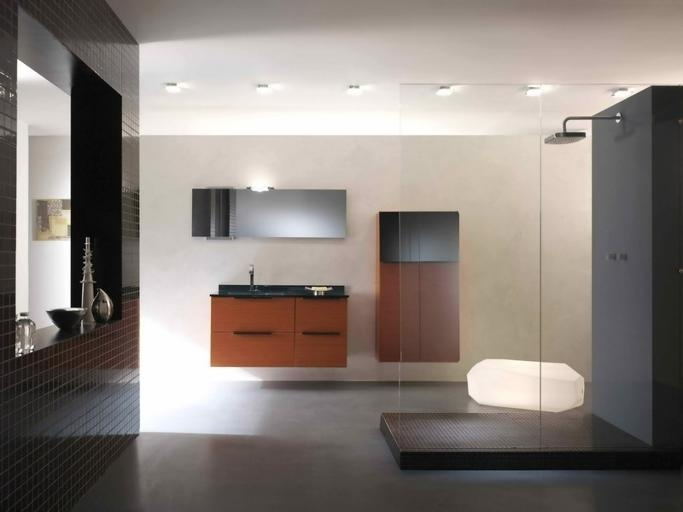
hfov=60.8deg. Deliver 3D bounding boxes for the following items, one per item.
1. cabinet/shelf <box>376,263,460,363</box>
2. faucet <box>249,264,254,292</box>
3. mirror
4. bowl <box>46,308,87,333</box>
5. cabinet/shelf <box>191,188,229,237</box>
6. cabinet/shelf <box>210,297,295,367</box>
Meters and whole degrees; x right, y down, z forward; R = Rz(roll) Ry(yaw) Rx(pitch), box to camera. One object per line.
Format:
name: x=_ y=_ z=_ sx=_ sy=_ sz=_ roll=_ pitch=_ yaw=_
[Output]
cabinet/shelf: x=0.600 y=0.353 z=4.575 sx=0.620 sy=0.901 sz=0.438 roll=-1 pitch=7 yaw=1
faucet: x=-0.985 y=0.244 z=6.423 sx=0.063 sy=0.273 sz=0.132 roll=-1 pitch=6 yaw=-9
mirror: x=-0.586 y=-0.467 z=6.382 sx=1.214 sy=0.498 sz=0.266 roll=-1 pitch=6 yaw=-11
bowl: x=-1.917 y=0.445 z=4.063 sx=0.243 sy=0.166 sz=0.269 roll=-1 pitch=7 yaw=-3
cabinet/shelf: x=-1.425 y=-0.468 z=6.385 sx=0.469 sy=0.687 sz=0.332 roll=0 pitch=-2 yaw=-2
cabinet/shelf: x=-0.931 y=0.769 z=6.137 sx=0.859 sy=0.792 sz=0.325 roll=1 pitch=9 yaw=-7
